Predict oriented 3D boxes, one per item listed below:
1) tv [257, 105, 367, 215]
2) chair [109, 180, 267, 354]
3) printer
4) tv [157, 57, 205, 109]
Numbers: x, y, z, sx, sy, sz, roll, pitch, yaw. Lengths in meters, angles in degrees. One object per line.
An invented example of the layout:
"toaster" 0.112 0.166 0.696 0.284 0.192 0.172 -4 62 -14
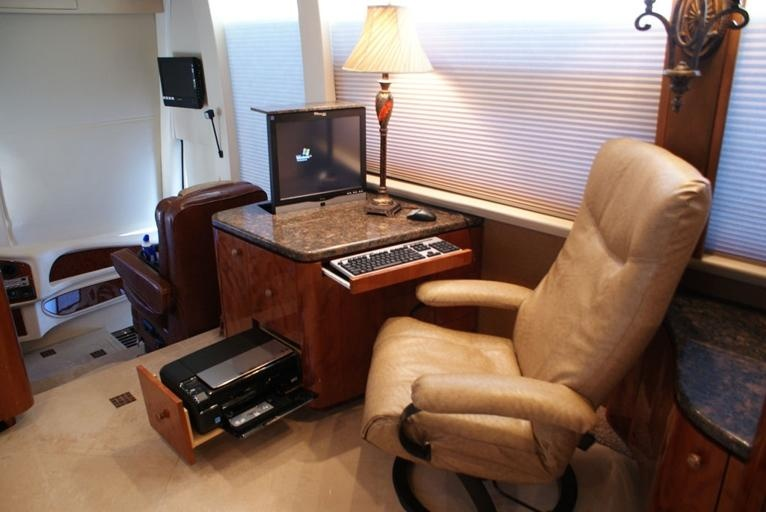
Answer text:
"tv" -0.350 -0.506 3.013 0.534 0.454 0.216 -14 33 -28
"chair" -1.258 0.076 3.845 0.971 1.243 0.849 -13 29 -30
"printer" -0.690 0.615 2.713 0.583 0.272 0.450 -18 32 -34
"tv" -1.545 -1.397 4.613 0.498 0.437 0.117 0 11 32
